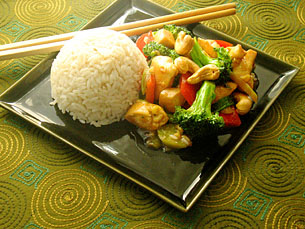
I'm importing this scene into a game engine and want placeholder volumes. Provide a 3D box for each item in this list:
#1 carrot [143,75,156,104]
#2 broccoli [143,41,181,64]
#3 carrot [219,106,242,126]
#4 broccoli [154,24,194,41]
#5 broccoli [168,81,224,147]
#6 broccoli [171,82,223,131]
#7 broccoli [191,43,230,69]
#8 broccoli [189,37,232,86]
[{"bbox_3d":[-0.019,-0.176,2.010,0.079,0.215,0.053,-6,49,-4],"label":"carrot"},{"bbox_3d":[0.048,-0.447,2.097,0.131,0.059,0.196,-39,41,-25],"label":"broccoli"},{"bbox_3d":[0.517,0.016,1.938,0.103,0.033,0.102,-17,76,-3],"label":"carrot"},{"bbox_3d":[0.194,-0.630,2.217,0.193,0.053,0.196,12,28,7],"label":"broccoli"},{"bbox_3d":[0.285,-0.008,1.924,0.321,0.147,0.434,-6,69,2],"label":"broccoli"},{"bbox_3d":[0.274,-0.049,1.904,0.313,0.080,0.332,-8,69,1],"label":"broccoli"},{"bbox_3d":[0.400,-0.373,2.068,0.239,0.157,0.133,22,95,19],"label":"broccoli"},{"bbox_3d":[0.395,-0.352,2.112,0.328,0.169,0.241,34,81,14],"label":"broccoli"}]
